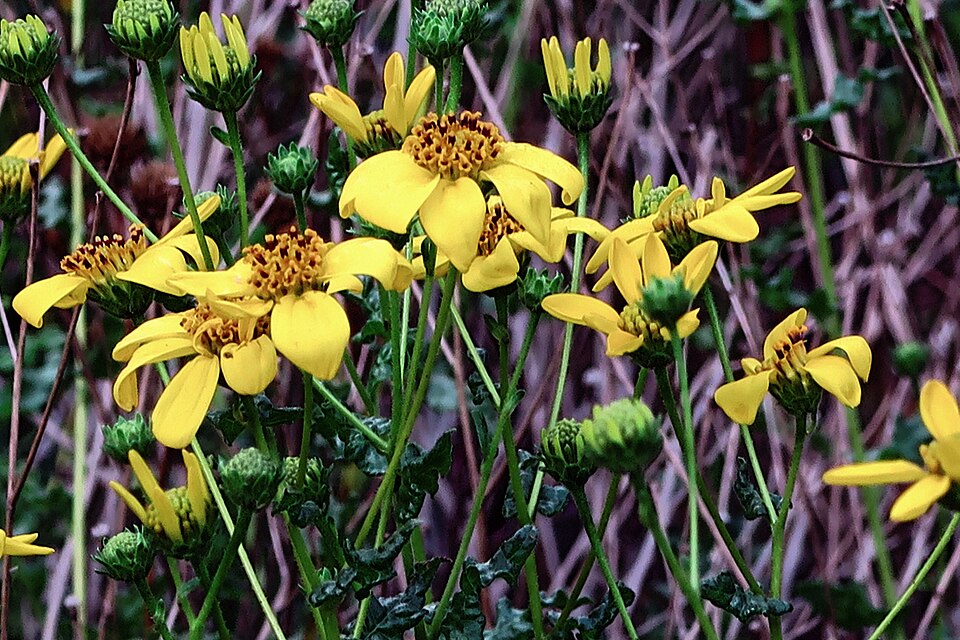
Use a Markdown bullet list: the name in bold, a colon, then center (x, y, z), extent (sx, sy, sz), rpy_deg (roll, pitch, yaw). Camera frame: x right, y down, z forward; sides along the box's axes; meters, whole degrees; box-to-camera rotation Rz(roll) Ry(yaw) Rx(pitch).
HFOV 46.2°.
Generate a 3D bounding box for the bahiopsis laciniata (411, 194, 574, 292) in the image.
- **bahiopsis laciniata**: center (0.047, -0.115, 1.819), extent (0.170, 0.080, 0.182), rpy_deg (-14, 17, 46)

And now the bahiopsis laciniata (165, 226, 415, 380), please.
- **bahiopsis laciniata**: center (-0.297, -0.036, 1.750), extent (0.332, 0.176, 0.191), rpy_deg (5, 24, 19)

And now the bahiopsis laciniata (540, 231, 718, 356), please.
- **bahiopsis laciniata**: center (0.236, -0.035, 1.757), extent (0.197, 0.092, 0.230), rpy_deg (-24, 40, 30)

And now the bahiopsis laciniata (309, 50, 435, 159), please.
- **bahiopsis laciniata**: center (-0.169, -0.338, 1.827), extent (0.159, 0.108, 0.169), rpy_deg (-19, 9, 12)

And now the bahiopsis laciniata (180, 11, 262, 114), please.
- **bahiopsis laciniata**: center (-0.434, -0.428, 1.863), extent (0.120, 0.162, 0.123), rpy_deg (-10, 23, -15)
